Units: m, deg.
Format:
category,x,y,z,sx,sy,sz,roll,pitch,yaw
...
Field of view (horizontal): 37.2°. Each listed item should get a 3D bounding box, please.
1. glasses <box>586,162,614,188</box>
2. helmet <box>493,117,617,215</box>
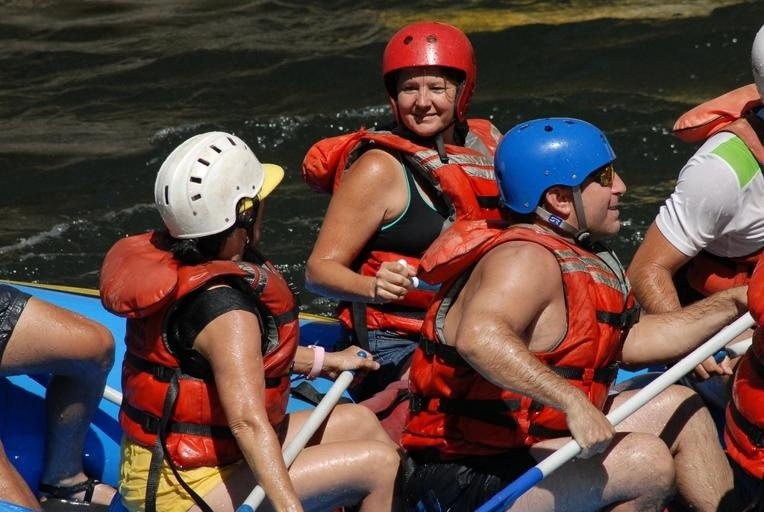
category,x,y,z,sx,sy,sz,roll,pitch,yaw
glasses,1.257,-0.458,6.549,0.153,0.059,0.146,-13,0,24
helmet,1.043,-0.527,6.756,0.698,0.462,0.515,8,5,5
